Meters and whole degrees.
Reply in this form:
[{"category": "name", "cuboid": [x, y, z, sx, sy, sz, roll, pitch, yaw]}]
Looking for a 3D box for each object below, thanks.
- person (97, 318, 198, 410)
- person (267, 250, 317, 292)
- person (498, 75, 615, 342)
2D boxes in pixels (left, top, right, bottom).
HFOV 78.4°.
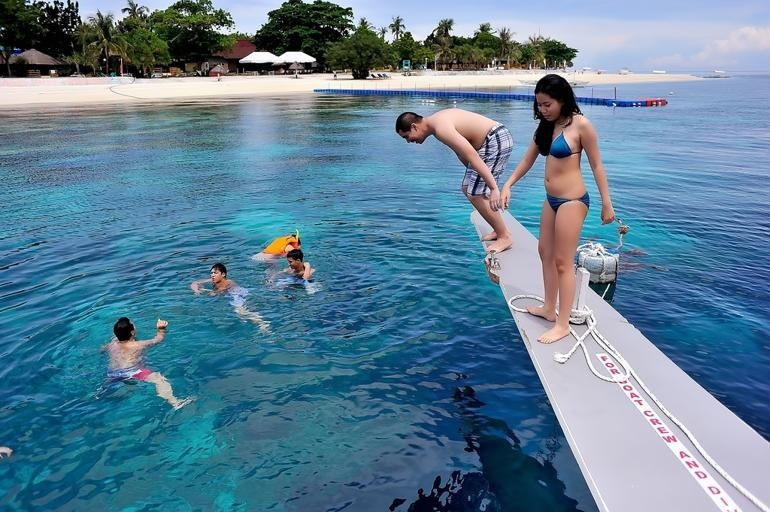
[{"category": "person", "cuboid": [-3.410, 1.576, 6.776, 1.345, 0.603, 0.482, 3, 19, 16]}, {"category": "person", "cuboid": [-1.781, 0.174, 8.880, 0.901, 0.693, 0.915, -6, 19, -9]}, {"category": "person", "cuboid": [2.141, -0.568, 5.658, 0.880, 3.097, 1.253, 1, 22, 12]}]
